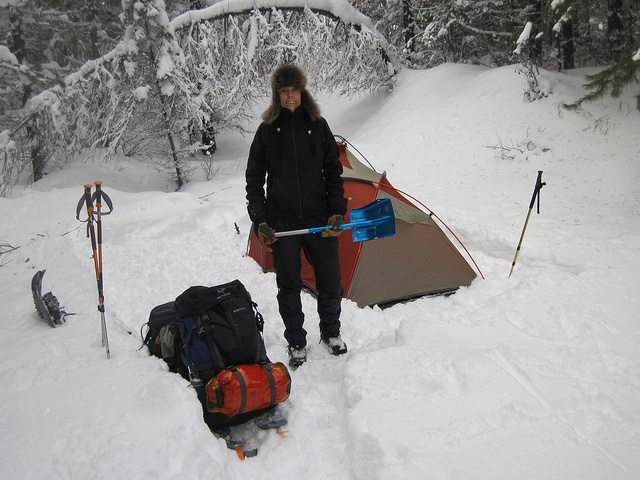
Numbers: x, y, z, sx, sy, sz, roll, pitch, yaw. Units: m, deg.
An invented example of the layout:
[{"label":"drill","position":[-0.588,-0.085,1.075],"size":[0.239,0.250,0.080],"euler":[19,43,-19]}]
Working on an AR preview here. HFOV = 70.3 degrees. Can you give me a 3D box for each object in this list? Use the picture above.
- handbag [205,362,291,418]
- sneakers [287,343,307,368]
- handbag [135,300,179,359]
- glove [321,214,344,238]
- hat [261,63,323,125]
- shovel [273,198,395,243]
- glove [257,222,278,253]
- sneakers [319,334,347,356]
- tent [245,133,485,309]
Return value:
[{"label":"handbag","position":[-0.634,1.246,4.076],"size":[0.700,0.359,0.351],"euler":[-3,13,-31]},{"label":"sneakers","position":[-0.234,1.180,4.661],"size":[0.169,0.221,0.483],"euler":[-1,-8,-6]},{"label":"handbag","position":[-1.605,0.950,4.716],"size":[0.372,0.548,0.507],"euler":[9,58,-5]},{"label":"glove","position":[0.144,-0.143,4.546],"size":[0.242,0.098,0.182],"euler":[-29,38,24]},{"label":"hat","position":[-0.324,-1.392,4.660],"size":[0.709,0.693,0.511],"euler":[-5,7,-8]},{"label":"shovel","position":[0.137,-0.129,5.146],"size":[1.397,0.467,0.098],"euler":[-9,31,4]},{"label":"glove","position":[-0.533,-0.028,4.491],"size":[0.270,0.198,0.118],"euler":[41,60,21]},{"label":"sneakers","position":[0.136,1.096,4.789],"size":[0.117,0.143,0.309],"euler":[-8,6,-31]},{"label":"tent","position":[0.380,-0.185,6.360],"size":[2.220,1.964,3.082],"euler":[-8,-6,42]}]
